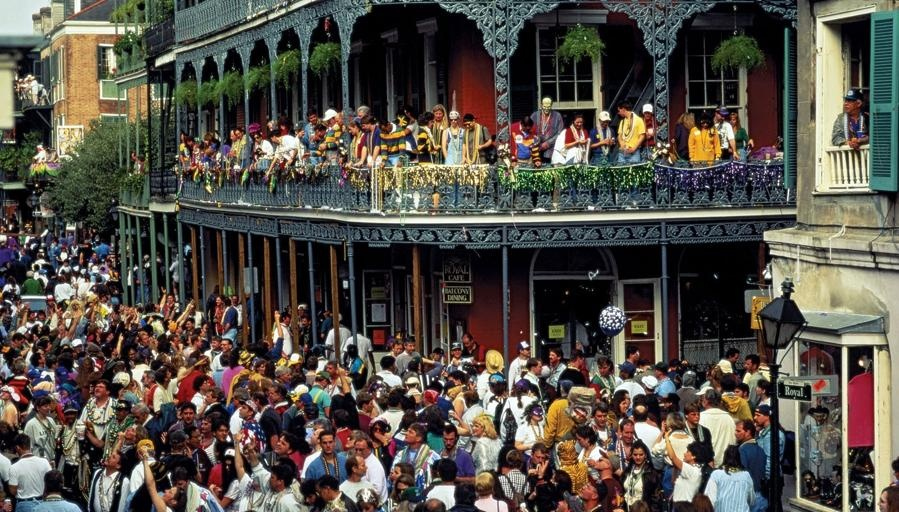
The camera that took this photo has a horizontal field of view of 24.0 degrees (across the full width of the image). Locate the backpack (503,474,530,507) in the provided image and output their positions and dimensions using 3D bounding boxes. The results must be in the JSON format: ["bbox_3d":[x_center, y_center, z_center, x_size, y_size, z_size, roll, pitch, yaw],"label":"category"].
[{"bbox_3d":[1.297,4.788,42.163,0.615,0.723,0.393,1,-6,-23],"label":"backpack"}]

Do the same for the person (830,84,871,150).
[{"bbox_3d":[8.587,-2.775,44.921,0.964,1.499,0.936,-7,9,-13],"label":"person"}]
